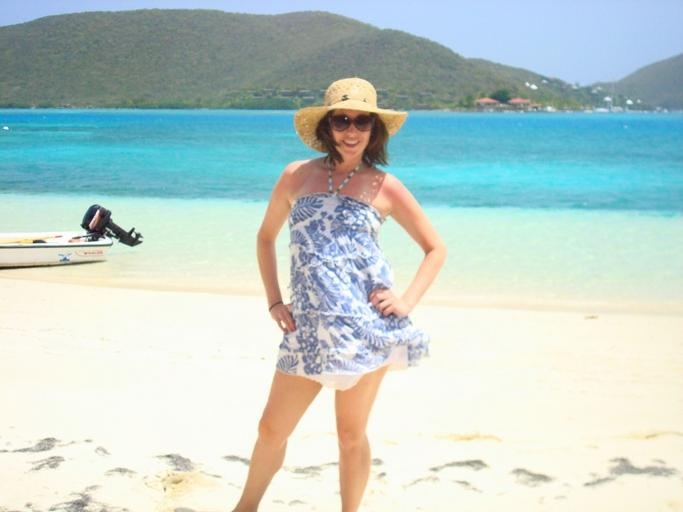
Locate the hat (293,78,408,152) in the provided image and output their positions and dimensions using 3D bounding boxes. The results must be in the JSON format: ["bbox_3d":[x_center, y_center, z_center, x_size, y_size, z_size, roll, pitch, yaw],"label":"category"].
[{"bbox_3d":[0.021,-0.954,4.596,0.593,0.252,0.550,2,-19,1],"label":"hat"}]

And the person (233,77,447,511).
[{"bbox_3d":[0.017,0.263,4.463,1.173,2.816,0.550,4,3,-5],"label":"person"}]
